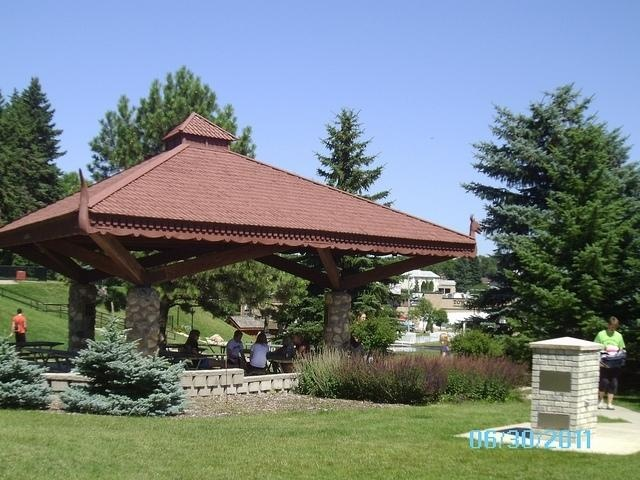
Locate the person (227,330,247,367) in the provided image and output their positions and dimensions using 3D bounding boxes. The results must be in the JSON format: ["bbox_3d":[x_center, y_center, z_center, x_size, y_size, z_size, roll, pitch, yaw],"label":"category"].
[{"bbox_3d":[-2.343,3.081,21.953,0.565,1.176,1.773,2,-13,-6],"label":"person"}]

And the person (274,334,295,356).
[{"bbox_3d":[-0.957,3.188,22.935,0.458,0.583,0.798,12,-17,-39],"label":"person"}]

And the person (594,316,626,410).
[{"bbox_3d":[6.921,2.937,18.590,0.655,2.152,1.193,-3,-14,17],"label":"person"}]

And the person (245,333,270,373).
[{"bbox_3d":[-1.693,3.113,21.486,0.505,1.195,0.815,3,-13,-7],"label":"person"}]

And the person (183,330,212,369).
[{"bbox_3d":[-3.452,3.358,23.040,1.057,1.201,1.288,-1,2,-12],"label":"person"}]
